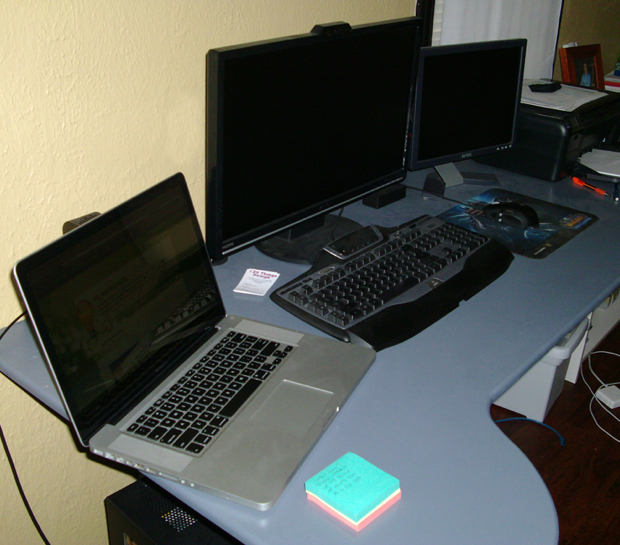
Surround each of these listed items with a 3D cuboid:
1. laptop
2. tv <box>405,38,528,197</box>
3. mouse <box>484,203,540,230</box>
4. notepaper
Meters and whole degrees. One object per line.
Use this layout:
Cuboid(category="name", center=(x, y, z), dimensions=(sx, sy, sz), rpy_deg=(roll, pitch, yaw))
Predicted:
Cuboid(category="laptop", center=(-0.151, 0.075, 0.804), dimensions=(0.388, 0.290, 0.407), rpy_deg=(16, 38, 26))
Cuboid(category="tv", center=(0.447, -0.440, 1.524), dimensions=(0.404, 0.417, 0.134), rpy_deg=(-13, 27, -34))
Cuboid(category="mouse", center=(0.542, -0.176, 1.434), dimensions=(0.075, 0.035, 0.110), rpy_deg=(-18, 29, -17))
Cuboid(category="notepaper", center=(0.058, 0.284, 0.710), dimensions=(0.081, 0.023, 0.078), rpy_deg=(22, 38, 38))
